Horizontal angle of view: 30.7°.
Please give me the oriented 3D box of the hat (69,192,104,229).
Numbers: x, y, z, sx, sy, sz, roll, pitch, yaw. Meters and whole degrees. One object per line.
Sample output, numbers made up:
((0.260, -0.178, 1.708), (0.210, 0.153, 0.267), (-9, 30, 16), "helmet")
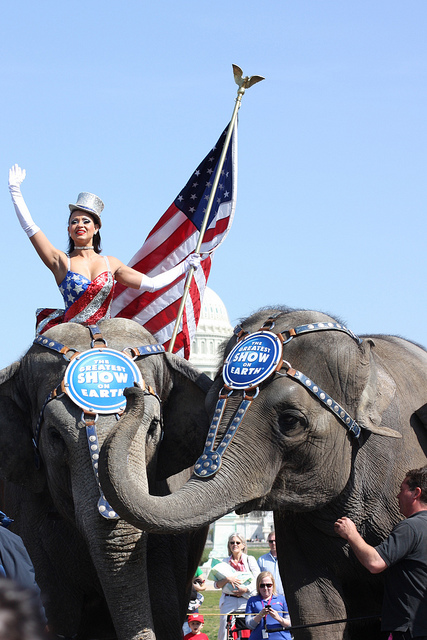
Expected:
((-0.924, -0.809, 5.714), (0.230, 0.237, 0.234), (7, 11, -12), "hat")

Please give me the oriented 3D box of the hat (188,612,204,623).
((-0.217, 3.785, 9.842), (0.137, 0.094, 0.185), (1, -11, 3), "hat")

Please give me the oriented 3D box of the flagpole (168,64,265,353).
((0.051, -1.379, 8.026), (0.706, 3.425, 0.665), (16, 1, 12), "flagpole")
